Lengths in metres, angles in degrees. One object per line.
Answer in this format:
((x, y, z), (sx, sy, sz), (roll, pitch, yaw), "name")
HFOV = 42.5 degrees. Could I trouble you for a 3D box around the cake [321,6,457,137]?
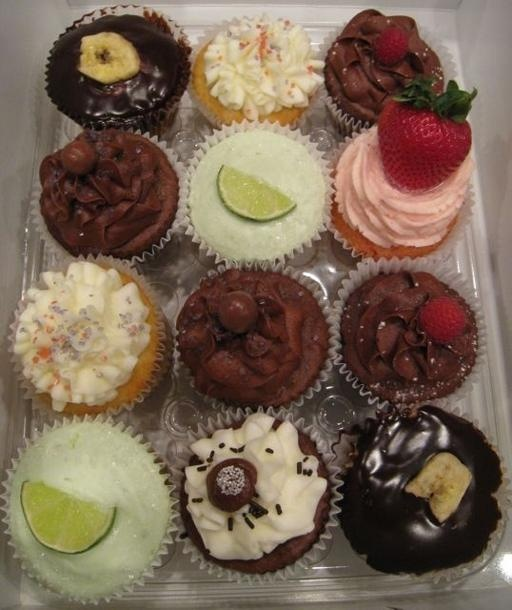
((0.696, -1.397, 4.062), (0.862, 0.554, 0.735), (18, 95, 4), "cake")
